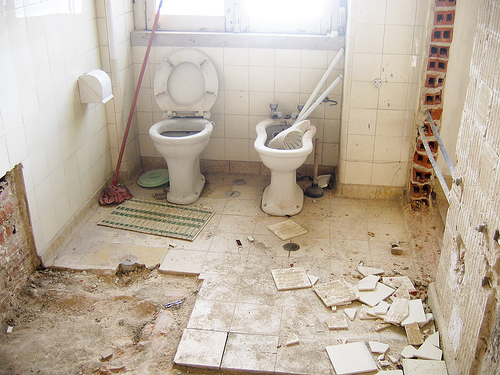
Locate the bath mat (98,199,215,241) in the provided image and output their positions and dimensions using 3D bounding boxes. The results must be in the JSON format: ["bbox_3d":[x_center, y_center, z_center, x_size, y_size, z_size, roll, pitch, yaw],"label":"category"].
[{"bbox_3d":[-0.857,0.278,3.567,0.943,0.029,0.472,8,30,11],"label":"bath mat"}]

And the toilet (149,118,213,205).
[{"bbox_3d":[-0.675,-0.277,3.902,0.572,0.738,0.740,-1,22,-1],"label":"toilet"}]

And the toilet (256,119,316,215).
[{"bbox_3d":[0.405,-0.268,3.824,0.597,0.719,0.926,4,40,9],"label":"toilet"}]

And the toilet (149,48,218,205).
[{"bbox_3d":[-0.644,-0.635,3.835,0.667,1.318,0.860,-2,28,-5],"label":"toilet"}]
